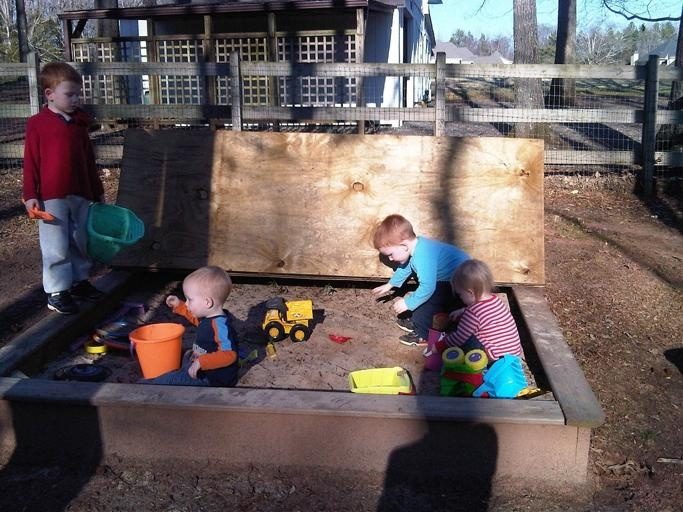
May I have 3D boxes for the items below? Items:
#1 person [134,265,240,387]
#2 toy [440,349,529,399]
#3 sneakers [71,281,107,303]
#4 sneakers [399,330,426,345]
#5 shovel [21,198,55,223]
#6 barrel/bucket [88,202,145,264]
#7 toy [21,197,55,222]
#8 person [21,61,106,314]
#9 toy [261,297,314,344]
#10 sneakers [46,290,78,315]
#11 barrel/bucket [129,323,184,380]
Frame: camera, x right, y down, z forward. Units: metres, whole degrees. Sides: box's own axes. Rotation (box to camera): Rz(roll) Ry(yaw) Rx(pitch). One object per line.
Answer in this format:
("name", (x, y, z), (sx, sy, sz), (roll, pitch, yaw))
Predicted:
("person", (-0.900, 0.490, 3.356), (0.504, 0.827, 0.701), (-2, 19, -11))
("toy", (0.839, 0.770, 3.226), (0.436, 0.119, 0.322), (2, 16, 15))
("sneakers", (-1.940, 0.298, 4.256), (0.294, 0.118, 0.109), (3, 18, 0))
("sneakers", (0.523, 0.663, 4.110), (0.207, 0.078, 0.077), (8, 5, -11))
("shovel", (-2.176, -0.352, 3.847), (0.222, 0.096, 0.157), (16, -7, -15))
("barrel/bucket", (-1.870, -0.109, 4.327), (0.333, 0.291, 0.371), (35, 17, 32))
("toy", (-2.170, -0.362, 3.846), (0.218, 0.089, 0.162), (14, -2, -13))
("person", (-2.062, -0.545, 3.999), (0.424, 1.892, 0.703), (-1, 19, -7))
("toy", (-0.404, 0.536, 4.074), (0.422, 0.284, 0.287), (3, 35, -1))
("sneakers", (-2.107, 0.356, 4.047), (0.298, 0.122, 0.130), (7, 12, 29))
("barrel/bucket", (-1.193, 0.743, 3.646), (0.399, 0.278, 0.393), (-4, -12, -1))
